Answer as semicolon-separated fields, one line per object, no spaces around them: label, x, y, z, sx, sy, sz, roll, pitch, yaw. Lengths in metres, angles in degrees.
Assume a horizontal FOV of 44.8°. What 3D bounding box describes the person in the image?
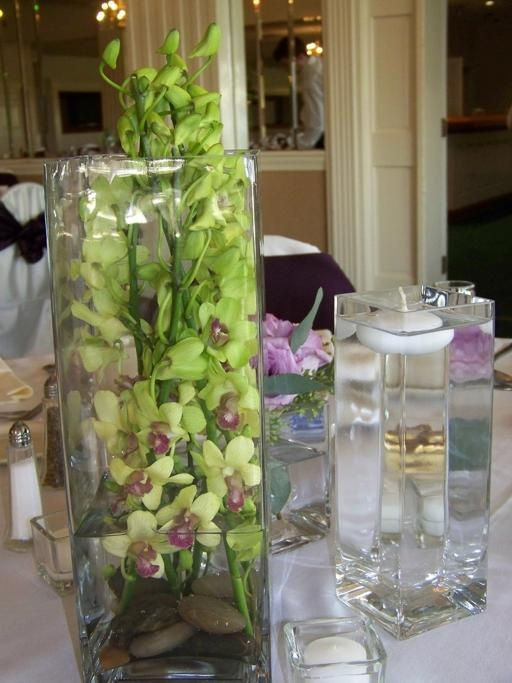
person;0.298;-1.687;4.195;0.285;0.874;0.690;-2;8;2

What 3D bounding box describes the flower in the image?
flower;-0.044;0.044;0.336;0.101;0.279;0.052;-4;8;-14

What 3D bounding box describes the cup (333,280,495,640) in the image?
cup;0.120;0.088;0.471;0.122;0.255;0.099;-2;8;4
